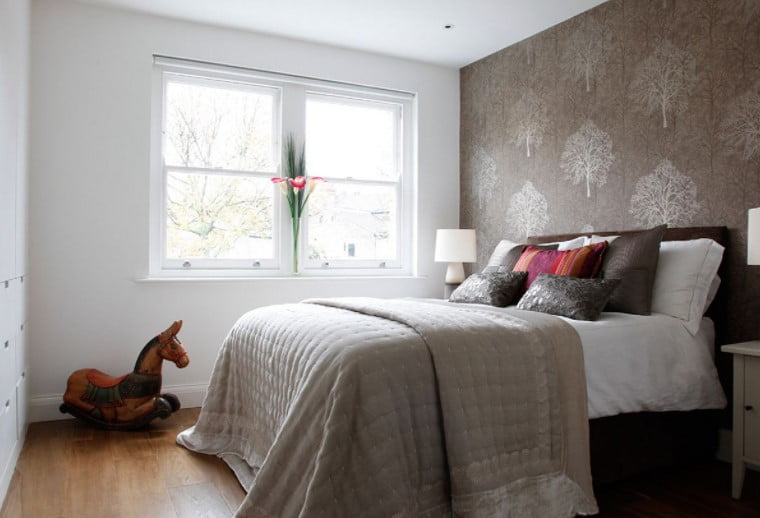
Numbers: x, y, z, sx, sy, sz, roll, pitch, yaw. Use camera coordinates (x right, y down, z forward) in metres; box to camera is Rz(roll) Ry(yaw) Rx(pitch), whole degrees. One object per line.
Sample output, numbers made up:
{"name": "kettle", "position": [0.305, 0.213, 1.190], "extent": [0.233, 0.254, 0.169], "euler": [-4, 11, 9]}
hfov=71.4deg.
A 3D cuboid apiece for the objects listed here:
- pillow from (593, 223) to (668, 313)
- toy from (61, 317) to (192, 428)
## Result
{"name": "pillow", "position": [1.618, 0.080, 3.411], "extent": [0.271, 0.469, 0.532], "euler": [0, -10, -31]}
{"name": "toy", "position": [-1.985, 0.874, 4.056], "extent": [0.721, 0.645, 0.309], "euler": [1, -10, -4]}
